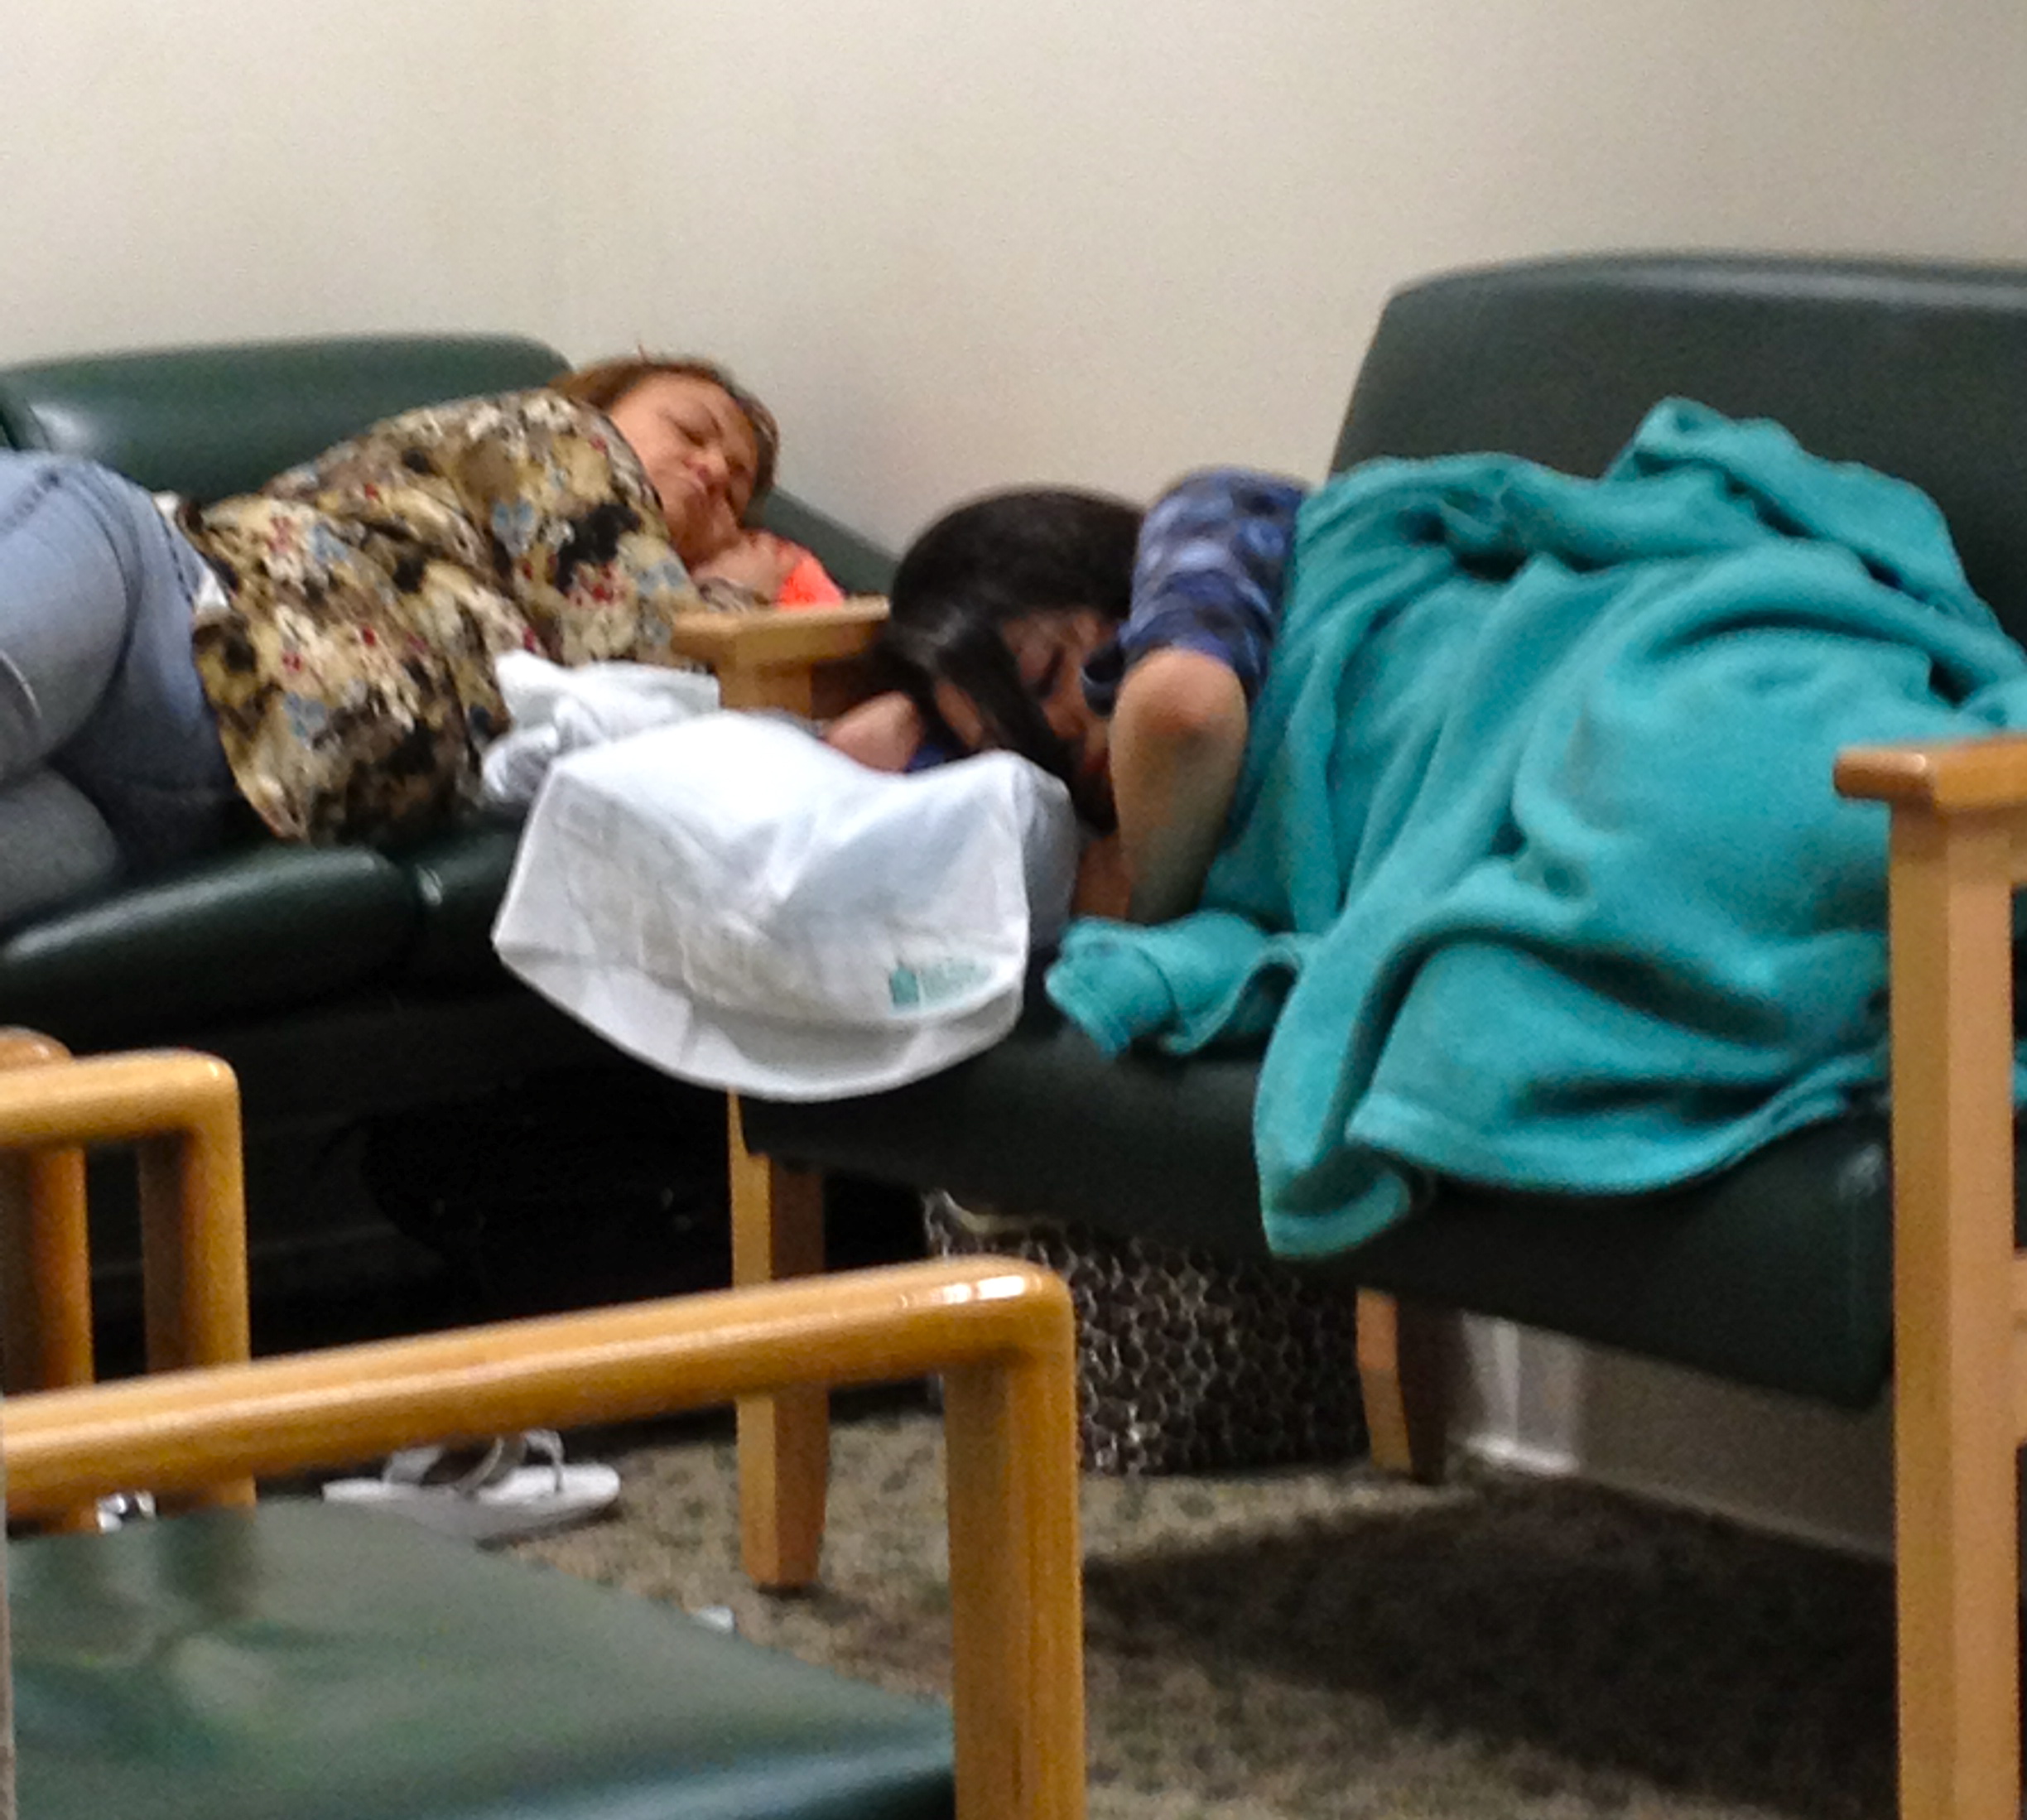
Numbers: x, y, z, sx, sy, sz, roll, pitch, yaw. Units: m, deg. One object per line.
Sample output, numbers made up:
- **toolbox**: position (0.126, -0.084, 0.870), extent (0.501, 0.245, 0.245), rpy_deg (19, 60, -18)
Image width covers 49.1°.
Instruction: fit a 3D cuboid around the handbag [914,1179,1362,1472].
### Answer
- **handbag**: position (0.100, 0.298, 1.869), extent (0.310, 0.240, 0.262), rpy_deg (0, -2, -24)
